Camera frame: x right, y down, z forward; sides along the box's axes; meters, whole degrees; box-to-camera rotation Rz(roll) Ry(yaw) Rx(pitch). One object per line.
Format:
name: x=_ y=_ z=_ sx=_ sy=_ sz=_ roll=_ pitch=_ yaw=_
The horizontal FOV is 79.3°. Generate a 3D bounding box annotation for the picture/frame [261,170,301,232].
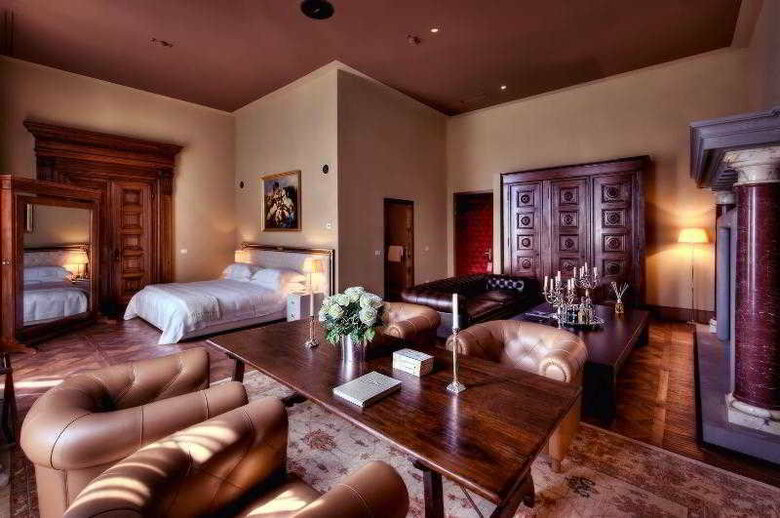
picture/frame: x=-2.071 y=-1.125 z=9.019 sx=1.166 sy=1.190 sz=0.085 roll=2 pitch=4 yaw=44

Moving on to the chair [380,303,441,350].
chair: x=0.194 y=0.753 z=5.486 sx=0.579 sy=0.504 sz=0.737 roll=1 pitch=-1 yaw=-45

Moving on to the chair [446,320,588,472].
chair: x=1.450 y=1.485 z=5.051 sx=1.253 sy=1.355 sz=1.518 roll=-3 pitch=5 yaw=-44

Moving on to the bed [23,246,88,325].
bed: x=-5.175 y=0.421 z=7.213 sx=0.893 sy=0.585 sz=0.713 roll=8 pitch=10 yaw=38

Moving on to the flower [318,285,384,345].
flower: x=-0.363 y=0.495 z=4.638 sx=0.555 sy=0.548 sz=0.547 roll=-12 pitch=16 yaw=-37

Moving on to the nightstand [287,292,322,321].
nightstand: x=-1.407 y=0.778 z=7.668 sx=0.595 sy=0.441 sz=0.543 roll=-2 pitch=4 yaw=-6

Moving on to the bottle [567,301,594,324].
bottle: x=2.495 y=0.702 z=6.166 sx=0.231 sy=0.229 sz=0.313 roll=2 pitch=0 yaw=-26

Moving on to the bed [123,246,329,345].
bed: x=-2.565 y=0.588 z=7.735 sx=2.032 sy=0.932 sz=2.185 roll=-2 pitch=3 yaw=-44

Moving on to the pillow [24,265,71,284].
pillow: x=-5.240 y=0.236 z=7.171 sx=0.100 sy=0.269 sz=0.667 roll=0 pitch=4 yaw=15

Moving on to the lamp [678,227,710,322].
lamp: x=4.931 y=0.278 z=7.651 sx=0.425 sy=1.589 sz=0.531 roll=1 pitch=5 yaw=33
